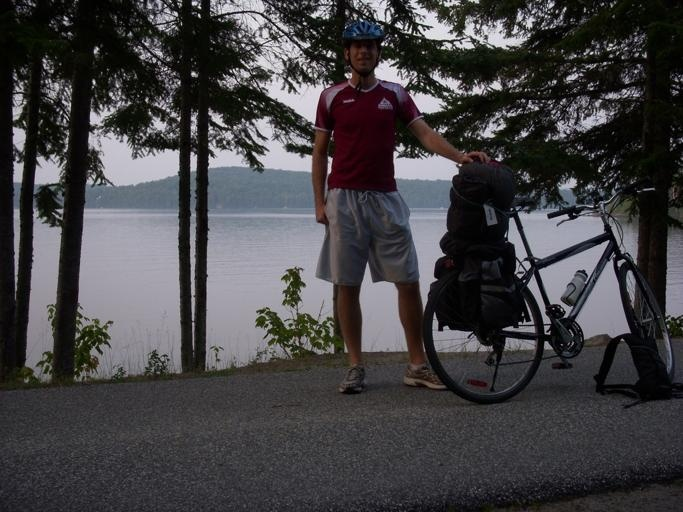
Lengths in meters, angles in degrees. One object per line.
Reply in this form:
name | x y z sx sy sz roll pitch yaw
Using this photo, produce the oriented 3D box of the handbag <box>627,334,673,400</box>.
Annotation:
handbag | 2.798 0.972 6.485 0.410 0.526 0.252 -2 -1 -7
